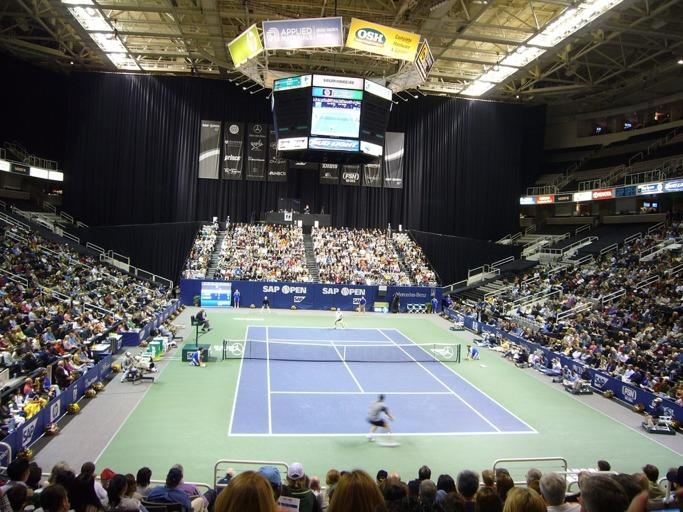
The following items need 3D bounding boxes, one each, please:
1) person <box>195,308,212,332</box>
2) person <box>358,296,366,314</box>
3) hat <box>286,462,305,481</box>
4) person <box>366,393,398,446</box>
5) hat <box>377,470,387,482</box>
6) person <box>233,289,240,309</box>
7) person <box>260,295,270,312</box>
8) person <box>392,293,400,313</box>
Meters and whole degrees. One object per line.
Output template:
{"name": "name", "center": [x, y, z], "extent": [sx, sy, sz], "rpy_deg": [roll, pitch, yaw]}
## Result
{"name": "person", "center": [-8.666, 4.042, 31.292], "extent": [0.922, 1.369, 1.804], "rpy_deg": [1, 7, -12]}
{"name": "person", "center": [1.689, 4.068, 42.854], "extent": [0.615, 1.145, 0.957], "rpy_deg": [3, 7, 4]}
{"name": "hat", "center": [-1.136, 5.236, 12.360], "extent": [0.348, 0.276, 0.537], "rpy_deg": [0, 11, -4]}
{"name": "person", "center": [1.474, 6.017, 18.961], "extent": [0.983, 1.768, 0.917], "rpy_deg": [-4, -14, 42]}
{"name": "hat", "center": [1.119, 6.116, 14.097], "extent": [0.264, 0.281, 0.440], "rpy_deg": [2, 7, -3]}
{"name": "person", "center": [-8.561, 3.394, 41.212], "extent": [0.488, 1.467, 0.390], "rpy_deg": [0, 7, -13]}
{"name": "person", "center": [-6.173, 3.818, 41.267], "extent": [0.606, 0.965, 1.128], "rpy_deg": [1, 7, -11]}
{"name": "person", "center": [4.537, 3.945, 43.197], "extent": [0.613, 1.585, 0.628], "rpy_deg": [2, 7, -1]}
